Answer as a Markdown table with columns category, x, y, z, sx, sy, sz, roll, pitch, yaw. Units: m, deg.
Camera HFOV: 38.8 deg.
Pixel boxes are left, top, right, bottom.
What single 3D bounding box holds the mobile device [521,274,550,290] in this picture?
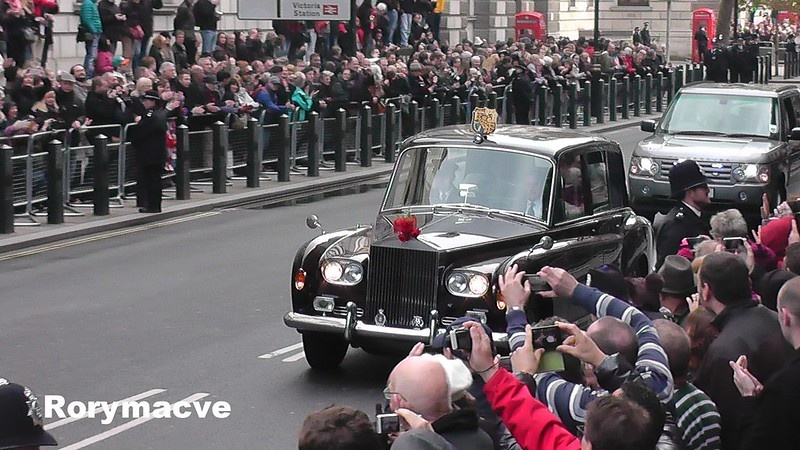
| category | x | y | z | sx | sy | sz | roll | pitch | yaw |
| --- | --- | --- | --- | --- | --- | --- | --- | --- | --- |
| mobile device | 1.711 | 0.718 | 14.240 | 0.278 | 0.108 | 0.267 | 8 | -13 | 46 |

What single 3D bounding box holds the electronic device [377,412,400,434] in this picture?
| category | x | y | z | sx | sy | sz | roll | pitch | yaw |
| --- | --- | --- | --- | --- | --- | --- | --- | --- | --- |
| electronic device | -0.122 | 1.932 | 11.203 | 0.270 | 0.222 | 0.162 | 2 | -2 | -24 |

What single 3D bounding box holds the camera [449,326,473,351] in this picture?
| category | x | y | z | sx | sy | sz | roll | pitch | yaw |
| --- | --- | --- | --- | --- | --- | --- | --- | --- | --- |
| camera | 0.633 | 1.189 | 11.714 | 0.228 | 0.260 | 0.182 | 1 | -3 | 11 |

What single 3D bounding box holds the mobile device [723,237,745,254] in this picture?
| category | x | y | z | sx | sy | sz | roll | pitch | yaw |
| --- | --- | --- | --- | --- | --- | --- | --- | --- | --- |
| mobile device | 4.478 | 0.267 | 15.132 | 0.273 | 0.282 | 0.079 | 2 | 6 | -5 |

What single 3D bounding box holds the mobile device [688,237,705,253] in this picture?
| category | x | y | z | sx | sy | sz | roll | pitch | yaw |
| --- | --- | --- | --- | --- | --- | --- | --- | --- | --- |
| mobile device | 4.111 | 0.283 | 15.770 | 0.054 | 0.208 | 0.199 | 4 | 6 | -42 |

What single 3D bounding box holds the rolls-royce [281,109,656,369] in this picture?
| category | x | y | z | sx | sy | sz | roll | pitch | yaw |
| --- | --- | --- | --- | --- | --- | --- | --- | --- | --- |
| rolls-royce | 0.918 | 0.385 | 16.289 | 5.096 | 3.405 | 2.052 | -1 | 8 | -7 |
